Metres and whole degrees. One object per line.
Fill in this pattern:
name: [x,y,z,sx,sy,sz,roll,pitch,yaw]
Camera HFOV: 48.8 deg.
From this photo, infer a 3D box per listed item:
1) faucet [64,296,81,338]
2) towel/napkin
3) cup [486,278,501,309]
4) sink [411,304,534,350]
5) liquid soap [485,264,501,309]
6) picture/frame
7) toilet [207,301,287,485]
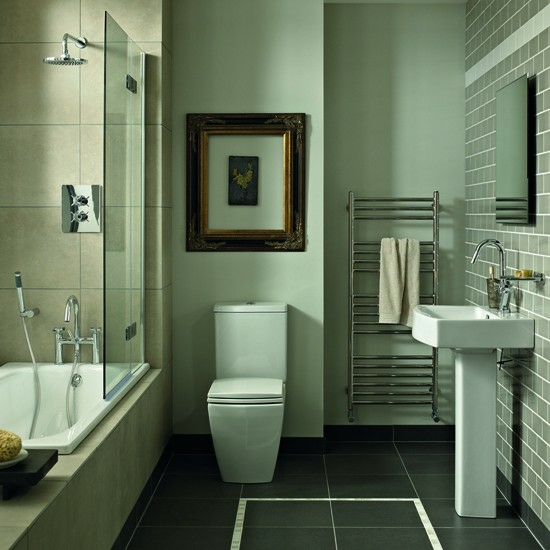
faucet: [-1.107,0.237,3.294,0.090,0.246,0.307,-2,7,-20]
towel/napkin: [0.761,0.032,3.716,0.224,0.617,0.118,0,29,7]
cup: [1.072,0.084,3.015,0.087,0.188,0.105,0,-3,20]
sink: [0.928,0.254,2.971,0.486,0.162,0.550,-1,7,-3]
liquid soap: [1.091,0.067,3.038,0.054,0.200,0.060,2,1,-9]
picture/frame: [-0.177,-0.592,3.645,0.627,0.967,0.095,0,0,-1]
toilet: [-0.144,0.657,3.401,0.429,0.919,0.558,-1,6,-2]
